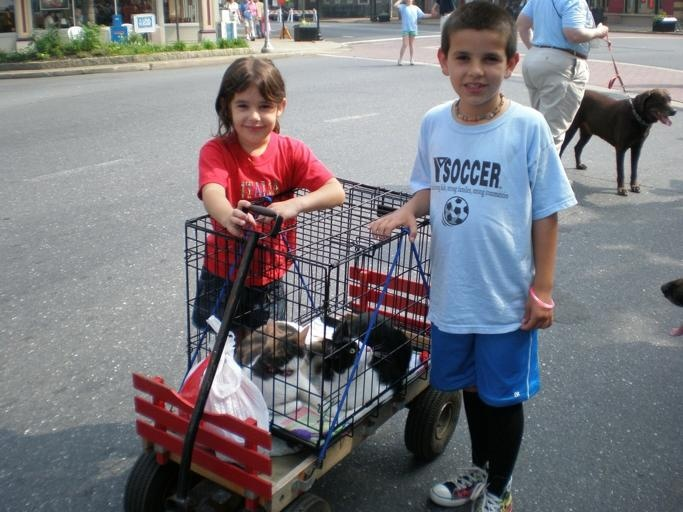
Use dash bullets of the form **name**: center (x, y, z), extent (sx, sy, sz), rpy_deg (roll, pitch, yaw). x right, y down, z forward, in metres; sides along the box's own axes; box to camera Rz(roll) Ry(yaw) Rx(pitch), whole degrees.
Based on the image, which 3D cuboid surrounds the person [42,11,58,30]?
- **person**: center (-12.178, -9.823, 22.393), extent (0.351, 0.668, 0.852), rpy_deg (-4, 18, -5)

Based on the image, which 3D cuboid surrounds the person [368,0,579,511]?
- **person**: center (0.666, 0.115, 2.497), extent (0.689, 2.414, 0.449), rpy_deg (6, 19, 25)

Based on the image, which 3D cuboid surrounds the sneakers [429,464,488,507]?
- **sneakers**: center (0.613, 1.171, 2.786), extent (0.351, 0.152, 0.140), rpy_deg (-6, 49, -30)

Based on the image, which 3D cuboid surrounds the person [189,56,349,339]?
- **person**: center (-0.466, -0.232, 2.748), extent (0.799, 1.471, 0.739), rpy_deg (17, 21, 38)

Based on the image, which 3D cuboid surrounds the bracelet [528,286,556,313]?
- **bracelet**: center (0.882, 0.196, 2.388), extent (0.094, 0.028, 0.096), rpy_deg (43, 17, 34)

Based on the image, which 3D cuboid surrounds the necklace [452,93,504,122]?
- **necklace**: center (0.614, -0.665, 2.414), extent (0.225, 0.115, 0.164), rpy_deg (2, 19, 12)

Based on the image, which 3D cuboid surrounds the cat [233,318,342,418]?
- **cat**: center (-0.267, 0.434, 2.618), extent (0.413, 0.358, 0.419), rpy_deg (26, 35, 34)
